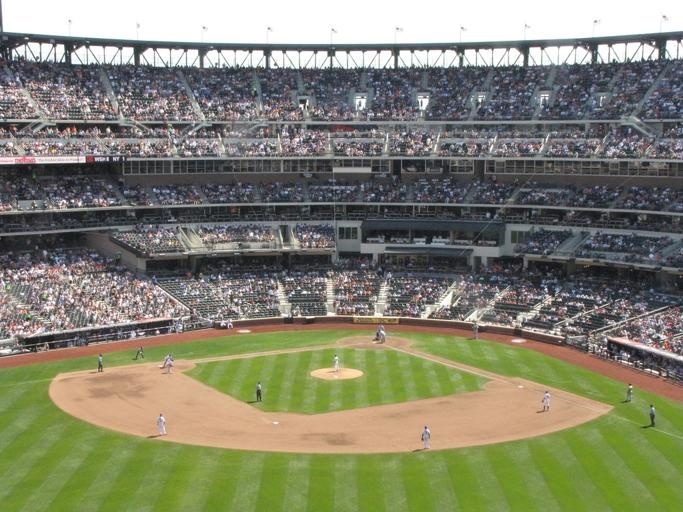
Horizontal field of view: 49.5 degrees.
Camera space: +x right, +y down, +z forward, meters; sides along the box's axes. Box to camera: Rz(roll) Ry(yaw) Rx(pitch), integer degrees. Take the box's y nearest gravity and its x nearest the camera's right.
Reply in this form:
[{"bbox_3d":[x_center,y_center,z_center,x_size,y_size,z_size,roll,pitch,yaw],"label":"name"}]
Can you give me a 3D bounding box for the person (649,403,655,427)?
[{"bbox_3d":[23.205,11.775,55.289,0.475,1.374,1.659,5,11,23],"label":"person"}]
